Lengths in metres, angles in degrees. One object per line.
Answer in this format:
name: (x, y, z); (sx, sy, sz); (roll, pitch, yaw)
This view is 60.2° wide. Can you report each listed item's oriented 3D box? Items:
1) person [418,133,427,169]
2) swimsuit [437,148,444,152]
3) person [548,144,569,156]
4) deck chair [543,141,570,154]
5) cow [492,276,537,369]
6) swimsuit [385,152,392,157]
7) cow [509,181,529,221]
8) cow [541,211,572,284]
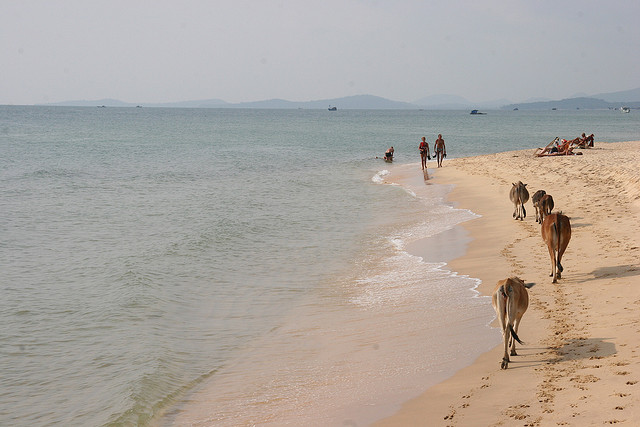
person: (7.467, -4.330, 39.949); (0.546, 2.277, 1.286); (-2, 12, 10)
swimsuit: (8.745, -4.622, 40.295); (0.388, 0.197, 0.310); (-2, 3, 9)
person: (17.618, -4.655, 40.312); (1.109, 0.688, 1.536); (-2, 9, 3)
deck chair: (17.674, -4.903, 41.256); (1.589, 0.792, 0.886); (2, 11, 26)
cow: (4.729, 2.666, 13.711); (0.763, 2.187, 1.018); (0, 12, 17)
swimsuit: (6.140, -5.248, 49.493); (0.631, 0.248, 0.664); (1, 5, 1)
cow: (8.530, -0.547, 23.675); (0.686, 1.641, 0.941); (0, 12, 17)
cow: (7.309, 1.055, 16.949); (0.762, 2.127, 0.744); (-3, 12, 5)
